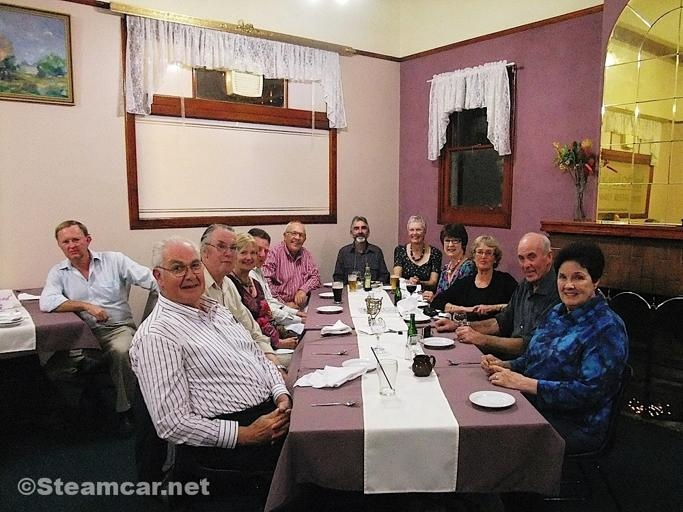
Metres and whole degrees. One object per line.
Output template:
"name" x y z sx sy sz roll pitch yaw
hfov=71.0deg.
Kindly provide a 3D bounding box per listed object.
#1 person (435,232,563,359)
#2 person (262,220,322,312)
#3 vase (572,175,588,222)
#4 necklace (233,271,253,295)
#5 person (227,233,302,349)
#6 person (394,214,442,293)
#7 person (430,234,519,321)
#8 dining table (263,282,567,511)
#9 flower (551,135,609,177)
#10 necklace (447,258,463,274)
"person" 1.065 0.285 3.522 0.923 0.998 0.735 3 -3 -9
"person" -0.504 0.127 4.894 0.626 0.969 0.540 0 10 -20
"vase" 2.317 -0.570 4.658 0.133 0.410 0.439 6 14 26
"necklace" -0.735 0.207 3.593 0.100 0.175 0.171 -2 -1 -29
"person" -0.598 0.372 3.657 0.517 0.961 0.422 -2 0 14
"person" 0.790 -0.006 5.145 0.526 0.820 0.527 3 6 37
"person" 1.121 0.195 4.085 0.615 0.922 0.463 -5 -16 42
"dining table" 0.309 1.001 2.717 1.309 0.798 1.267 0 12 -2
"flower" 2.349 -0.948 4.629 0.530 0.335 0.245 7 14 30
"necklace" 1.026 0.088 4.363 0.145 0.040 0.104 -38 19 47
